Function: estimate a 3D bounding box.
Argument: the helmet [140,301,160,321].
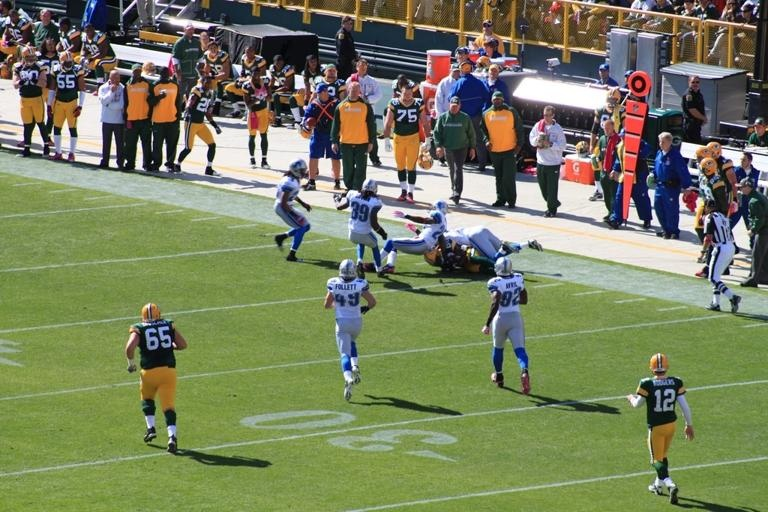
[{"bbox_3d":[-3.370,0.843,22.600,0.269,0.291,0.329,0,-1,-4],"label":"helmet"}]

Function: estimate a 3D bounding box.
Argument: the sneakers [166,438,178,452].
[{"bbox_3d":[-3.035,2.752,22.243,0.106,0.244,0.109,0,51,0],"label":"sneakers"}]

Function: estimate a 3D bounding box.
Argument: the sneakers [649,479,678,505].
[{"bbox_3d":[3.884,3.276,21.435,0.185,0.240,0.528,-10,21,-24],"label":"sneakers"}]

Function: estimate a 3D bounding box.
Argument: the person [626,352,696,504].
[{"bbox_3d":[3.838,2.411,21.673,0.869,1.961,0.806,6,7,16],"label":"person"}]

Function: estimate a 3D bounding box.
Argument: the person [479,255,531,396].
[{"bbox_3d":[1.945,1.100,23.935,0.787,2.119,0.956,5,7,4],"label":"person"}]

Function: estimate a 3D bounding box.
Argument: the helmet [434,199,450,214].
[{"bbox_3d":[1.027,-0.896,28.260,0.239,0.234,0.462,4,6,-1],"label":"helmet"}]

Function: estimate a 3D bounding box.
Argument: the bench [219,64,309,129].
[{"bbox_3d":[-2.839,-3.865,37.444,1.222,2.711,1.051,-28,29,-34],"label":"bench"}]

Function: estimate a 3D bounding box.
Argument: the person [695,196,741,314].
[{"bbox_3d":[5.750,0.011,26.838,0.889,1.978,0.733,0,-1,42],"label":"person"}]

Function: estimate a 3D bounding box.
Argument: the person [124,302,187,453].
[{"bbox_3d":[-3.286,1.784,22.429,0.859,2.086,0.564,5,7,8],"label":"person"}]

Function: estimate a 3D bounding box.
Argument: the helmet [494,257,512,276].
[{"bbox_3d":[1.889,0.176,23.874,0.271,0.279,0.299,1,14,-9],"label":"helmet"}]

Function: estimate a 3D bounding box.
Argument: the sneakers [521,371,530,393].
[{"bbox_3d":[2.167,1.970,23.836,0.128,0.318,0.157,-3,9,19],"label":"sneakers"}]

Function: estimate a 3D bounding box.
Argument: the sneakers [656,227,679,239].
[{"bbox_3d":[5.505,-0.452,30.422,0.498,0.186,0.158,6,14,-7],"label":"sneakers"}]

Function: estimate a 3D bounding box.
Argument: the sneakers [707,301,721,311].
[{"bbox_3d":[5.718,0.896,26.931,0.109,0.103,0.248,-6,14,-32],"label":"sneakers"}]

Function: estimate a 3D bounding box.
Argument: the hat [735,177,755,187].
[{"bbox_3d":[6.433,-1.333,27.643,0.340,0.148,0.216,4,3,15],"label":"hat"}]

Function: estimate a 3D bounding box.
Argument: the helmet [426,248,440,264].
[{"bbox_3d":[0.885,0.011,28.692,0.217,0.348,0.443,3,6,-11],"label":"helmet"}]

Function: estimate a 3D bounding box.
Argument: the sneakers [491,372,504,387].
[{"bbox_3d":[1.774,1.959,24.196,0.112,0.194,0.290,-3,41,-8],"label":"sneakers"}]

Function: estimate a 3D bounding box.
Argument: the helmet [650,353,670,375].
[{"bbox_3d":[3.856,1.522,21.840,0.269,0.326,0.276,5,-23,5],"label":"helmet"}]

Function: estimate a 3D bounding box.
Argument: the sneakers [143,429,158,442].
[{"bbox_3d":[-3.383,2.637,22.462,0.117,0.133,0.301,11,-18,-22],"label":"sneakers"}]

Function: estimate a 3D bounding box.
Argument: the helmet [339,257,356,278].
[{"bbox_3d":[-0.546,0.181,23.686,0.226,0.232,0.284,4,32,1],"label":"helmet"}]

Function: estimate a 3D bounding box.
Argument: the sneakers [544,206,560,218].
[{"bbox_3d":[3.418,-0.892,31.641,0.252,0.212,0.515,1,-3,13],"label":"sneakers"}]

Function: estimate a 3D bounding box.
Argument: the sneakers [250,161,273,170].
[{"bbox_3d":[-2.773,-2.052,34.866,0.500,0.194,0.167,-4,2,32],"label":"sneakers"}]

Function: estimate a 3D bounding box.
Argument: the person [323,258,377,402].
[{"bbox_3d":[-0.572,1.150,23.763,0.698,2.167,0.651,6,7,10],"label":"person"}]

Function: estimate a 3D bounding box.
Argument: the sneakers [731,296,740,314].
[{"bbox_3d":[6.029,0.835,26.734,0.191,0.345,0.141,7,27,21],"label":"sneakers"}]

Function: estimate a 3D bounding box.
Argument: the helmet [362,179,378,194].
[{"bbox_3d":[-0.250,-1.271,27.553,0.247,0.252,0.284,21,29,15],"label":"helmet"}]

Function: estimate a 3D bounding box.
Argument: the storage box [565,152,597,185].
[{"bbox_3d":[4.292,-1.902,33.674,0.405,0.577,0.723,-10,16,-37],"label":"storage box"}]
